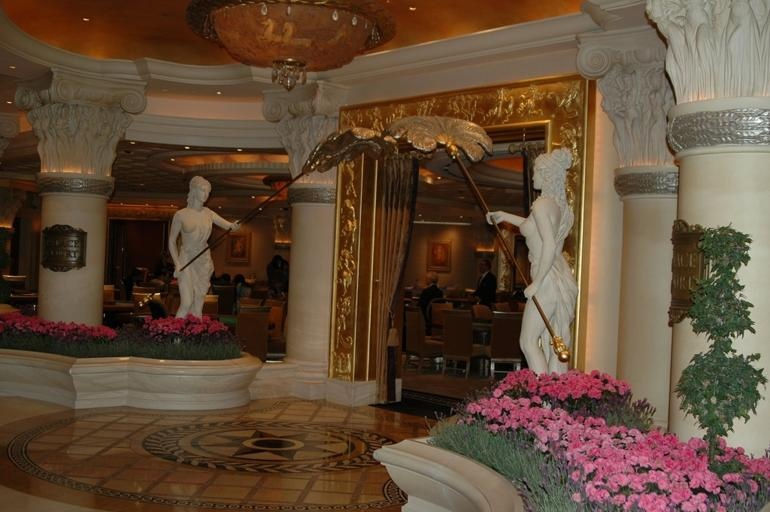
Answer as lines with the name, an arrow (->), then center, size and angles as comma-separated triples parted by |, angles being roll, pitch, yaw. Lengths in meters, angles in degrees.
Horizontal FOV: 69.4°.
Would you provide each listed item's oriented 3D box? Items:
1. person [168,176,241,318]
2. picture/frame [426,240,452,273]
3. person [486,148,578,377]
person -> -2.743, -0.155, 8.223 | 0.820, 1.933, 1.188 | 5, -2, -19
picture/frame -> 2.214, 0.069, 22.449 | 0.969, 0.887, 0.252 | 4, -2, -4
person -> 1.347, 0.024, 4.855 | 0.746, 2.003, 0.603 | 4, -2, 7
